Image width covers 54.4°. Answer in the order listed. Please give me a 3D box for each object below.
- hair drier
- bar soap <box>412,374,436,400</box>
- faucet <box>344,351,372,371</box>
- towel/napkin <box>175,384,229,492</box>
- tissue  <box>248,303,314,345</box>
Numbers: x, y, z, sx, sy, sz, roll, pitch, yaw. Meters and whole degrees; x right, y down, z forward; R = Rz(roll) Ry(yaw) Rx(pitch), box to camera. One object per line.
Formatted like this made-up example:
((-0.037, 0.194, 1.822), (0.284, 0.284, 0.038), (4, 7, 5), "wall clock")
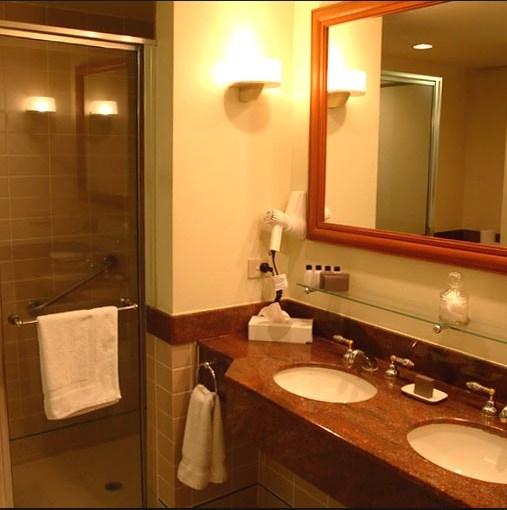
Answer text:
((0.130, -0.152, 2.111), (0.116, 0.290, 0.150), (-9, 21, -34), "hair drier")
((0.534, 0.411, 1.533), (0.021, 0.059, 0.056), (-8, 12, -34), "bar soap")
((0.386, 0.387, 1.833), (0.043, 0.052, 0.112), (-9, 18, -25), "faucet")
((-0.201, 0.724, 1.952), (0.178, 0.344, 0.202), (2, 1, -11), "towel/napkin")
((0.116, 0.274, 2.072), (0.272, 0.174, 0.167), (1, 10, 7), "tissue ")
